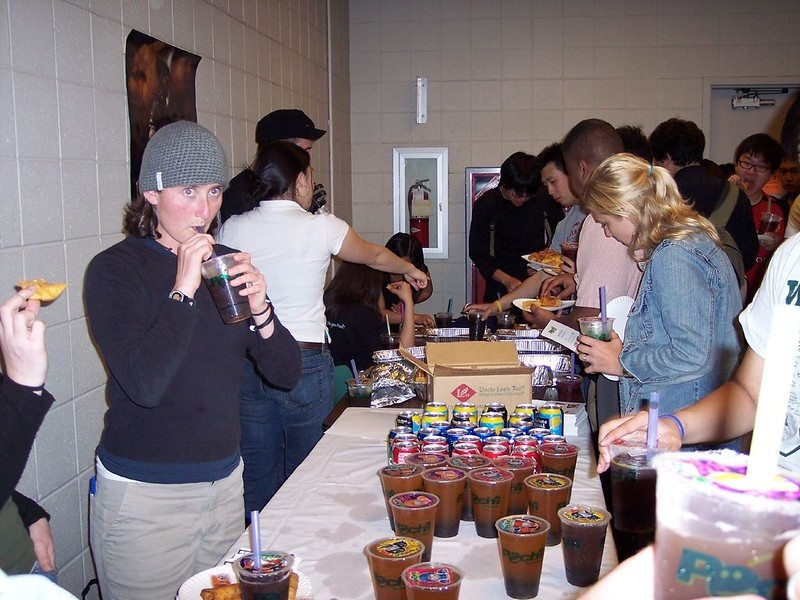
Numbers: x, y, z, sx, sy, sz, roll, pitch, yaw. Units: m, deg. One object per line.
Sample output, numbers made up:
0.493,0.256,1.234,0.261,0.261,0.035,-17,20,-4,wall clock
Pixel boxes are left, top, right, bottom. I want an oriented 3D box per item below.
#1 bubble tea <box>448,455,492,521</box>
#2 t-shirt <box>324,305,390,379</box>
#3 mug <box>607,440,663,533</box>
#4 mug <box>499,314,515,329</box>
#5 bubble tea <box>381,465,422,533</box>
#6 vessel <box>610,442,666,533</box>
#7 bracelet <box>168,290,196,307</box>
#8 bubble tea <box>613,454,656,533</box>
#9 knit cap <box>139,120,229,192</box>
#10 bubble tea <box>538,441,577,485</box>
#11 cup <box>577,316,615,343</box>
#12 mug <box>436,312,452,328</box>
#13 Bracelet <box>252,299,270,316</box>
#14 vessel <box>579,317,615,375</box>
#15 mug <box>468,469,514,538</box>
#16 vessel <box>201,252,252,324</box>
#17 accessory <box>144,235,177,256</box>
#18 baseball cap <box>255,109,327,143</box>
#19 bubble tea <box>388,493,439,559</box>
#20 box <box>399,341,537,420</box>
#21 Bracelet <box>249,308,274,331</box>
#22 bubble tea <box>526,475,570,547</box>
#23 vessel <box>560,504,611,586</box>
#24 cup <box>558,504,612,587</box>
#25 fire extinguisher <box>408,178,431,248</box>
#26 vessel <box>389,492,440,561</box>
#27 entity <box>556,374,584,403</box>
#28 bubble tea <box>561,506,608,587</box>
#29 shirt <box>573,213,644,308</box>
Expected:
0.166,0.464,1.600,0.145,0.173,0.138,1,6,7,bubble tea
-0.216,0.201,3.027,0.284,0.312,0.177,7,19,24,t-shirt
0.548,0.444,1.484,0.148,0.199,0.136,1,-5,1,mug
0.590,0.112,3.422,0.078,0.062,0.080,1,7,-4,mug
0.002,0.484,1.564,0.142,0.183,0.135,-1,7,0,bubble tea
0.552,0.450,1.477,0.140,0.191,0.121,7,-12,-12,vessel
-0.569,-0.006,1.599,0.058,0.039,0.054,14,9,-18,bracelet
0.551,0.466,1.467,0.092,0.251,0.104,0,10,18,bubble tea
-0.591,-0.398,1.734,0.207,0.173,0.212,15,21,23,knit cap
0.408,0.412,1.597,0.091,0.097,0.092,4,9,40,bubble tea
0.728,0.108,2.320,0.093,0.074,0.097,0,1,0,cup
0.241,0.110,3.475,0.080,0.065,0.076,4,4,27,mug
-0.424,0.026,1.867,0.045,0.035,0.048,-4,21,-6,Bracelet
0.742,0.163,2.311,0.139,0.207,0.202,-8,1,20,vessel
0.212,0.496,1.510,0.130,0.151,0.126,3,-13,-10,mug
-0.486,-0.030,1.736,0.112,0.156,0.112,-25,-3,15,vessel
-0.678,-0.151,1.749,0.051,0.018,0.071,5,25,-40,accessory
-0.567,-0.897,3.173,0.330,0.130,0.236,-3,19,-12,baseball cap
0.029,0.528,1.396,0.103,0.129,0.100,1,-10,-14,bubble tea
0.237,0.279,2.284,0.471,0.227,0.383,-1,2,-4,box
-0.434,0.063,1.920,0.078,0.060,0.021,-34,-54,26,Bracelet
0.356,0.501,1.468,0.118,0.144,0.127,-14,-31,36,bubble tea
0.398,0.540,1.353,0.112,0.143,0.121,4,-6,-44,vessel
0.397,0.536,1.362,0.126,0.158,0.128,1,5,0,cup
0.194,-0.803,6.219,0.244,0.814,0.212,0,13,2,fire extinguisher
0.031,0.521,1.398,0.111,0.131,0.107,-2,-4,8,vessel
0.676,0.345,2.473,0.097,0.096,0.096,-2,10,-7,entity
0.398,0.536,1.358,0.129,0.152,0.117,-1,4,21,bubble tea
0.913,-0.166,2.840,0.302,0.559,0.592,-4,5,17,shirt
